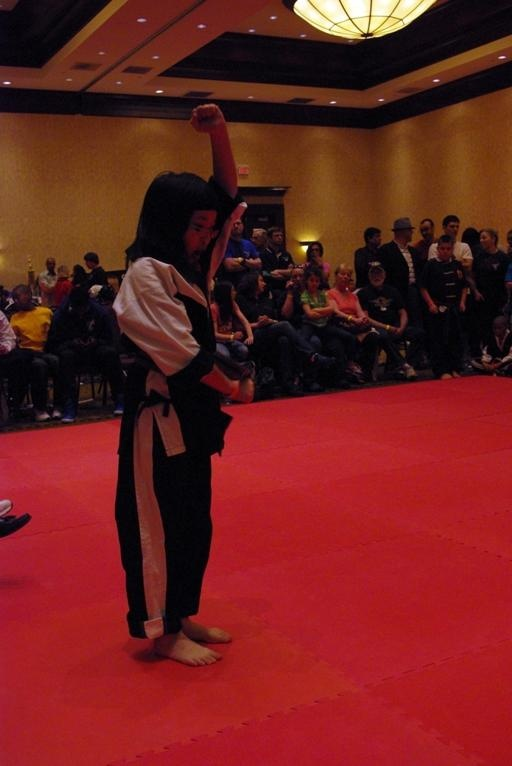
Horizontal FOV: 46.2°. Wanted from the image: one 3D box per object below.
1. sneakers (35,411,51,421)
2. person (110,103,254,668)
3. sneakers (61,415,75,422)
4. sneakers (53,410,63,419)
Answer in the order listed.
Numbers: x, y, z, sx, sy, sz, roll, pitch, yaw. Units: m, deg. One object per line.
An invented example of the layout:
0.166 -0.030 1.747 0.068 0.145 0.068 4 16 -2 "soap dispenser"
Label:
-2.209 0.342 6.206 0.068 0.075 0.185 -4 -4 -33 "sneakers"
-0.180 0.038 1.515 0.391 1.466 0.436 -4 5 -11 "person"
-1.890 0.370 6.038 0.144 0.059 0.137 -6 6 -34 "sneakers"
-2.097 0.338 6.279 0.094 0.088 0.114 -4 5 -18 "sneakers"
